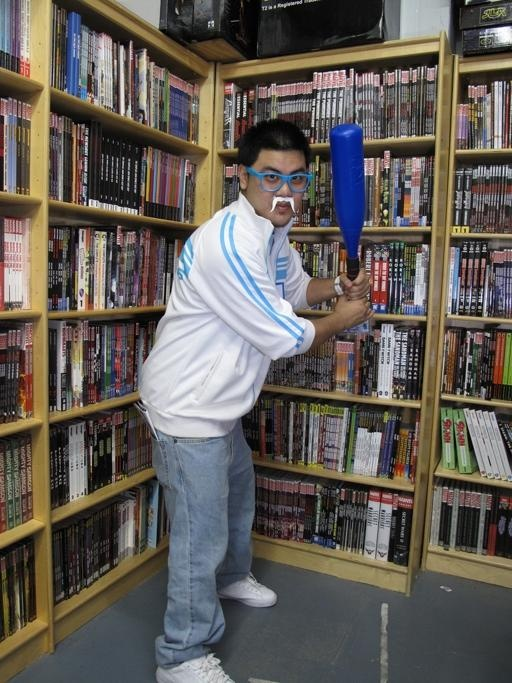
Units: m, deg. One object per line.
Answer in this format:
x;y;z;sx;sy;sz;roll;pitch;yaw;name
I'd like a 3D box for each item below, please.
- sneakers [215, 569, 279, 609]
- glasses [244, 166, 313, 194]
-0.029;0.926;2.010;0.220;0.096;0.096;2;7;13;sneakers
0.061;-0.440;1.445;0.178;0.076;0.092;2;2;-2;glasses
